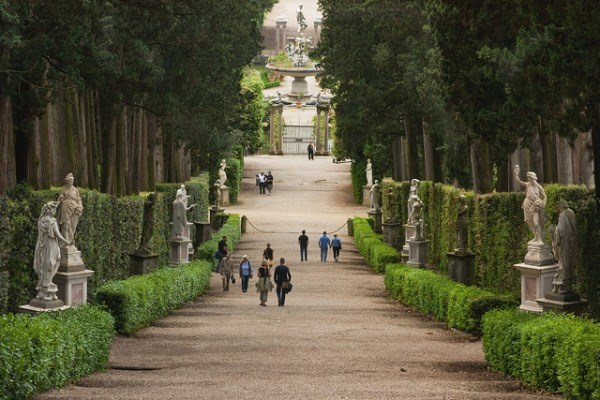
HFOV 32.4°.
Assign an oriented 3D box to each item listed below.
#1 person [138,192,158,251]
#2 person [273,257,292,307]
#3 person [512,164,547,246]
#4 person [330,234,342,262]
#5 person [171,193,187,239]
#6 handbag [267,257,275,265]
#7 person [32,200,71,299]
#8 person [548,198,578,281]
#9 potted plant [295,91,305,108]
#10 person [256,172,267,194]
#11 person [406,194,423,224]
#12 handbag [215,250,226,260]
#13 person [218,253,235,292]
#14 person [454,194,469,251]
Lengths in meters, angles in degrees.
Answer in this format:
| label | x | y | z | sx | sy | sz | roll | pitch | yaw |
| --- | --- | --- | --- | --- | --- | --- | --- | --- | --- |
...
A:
| label | x | y | z | sx | sy | sz | roll | pitch | yaw |
| --- | --- | --- | --- | --- | --- | --- | --- | --- | --- |
| person | -4.255 | 0.587 | 28.571 | 0.474 | 1.698 | 0.647 | 0 | 8 | -9 |
| person | -0.484 | 2.174 | 28.981 | 0.501 | 1.397 | 1.407 | 1 | 7 | -1 |
| person | 5.342 | 0.086 | 24.012 | 0.772 | 1.727 | 1.372 | 3 | 8 | 13 |
| person | 1.273 | 1.696 | 37.990 | 0.331 | 1.000 | 0.849 | 1 | 7 | 0 |
| person | -3.736 | 0.430 | 32.221 | 0.743 | 1.436 | 0.734 | -1 | 11 | -8 |
| handbag | -0.958 | 1.906 | 33.187 | 0.169 | 0.158 | 0.519 | -12 | -3 | 3 |
| person | -5.621 | 1.103 | 23.000 | 0.649 | 2.165 | 0.355 | -1 | 8 | -12 |
| person | 5.722 | 0.963 | 22.403 | 0.503 | 1.548 | 0.301 | 2 | 8 | 9 |
| potted plant | -0.083 | -8.550 | 87.701 | 0.811 | 1.198 | 2.036 | 1 | 7 | 0 |
| person | -2.155 | -0.998 | 57.072 | 0.529 | 1.072 | 1.236 | 1 | 7 | -3 |
| person | 3.742 | 0.287 | 33.438 | 0.455 | 0.914 | 0.976 | 2 | 7 | 4 |
| handbag | -2.625 | 1.744 | 33.781 | 0.300 | 0.197 | 0.359 | 4 | 43 | 14 |
| person | -2.283 | 2.164 | 31.766 | 0.335 | 1.142 | 1.048 | 0 | 7 | -5 |
| person | 4.499 | 0.587 | 28.545 | 0.319 | 1.499 | 0.783 | 2 | 8 | 9 |
